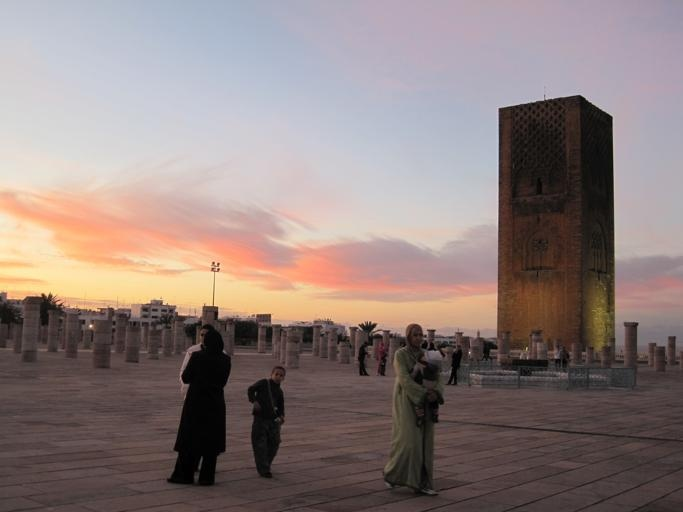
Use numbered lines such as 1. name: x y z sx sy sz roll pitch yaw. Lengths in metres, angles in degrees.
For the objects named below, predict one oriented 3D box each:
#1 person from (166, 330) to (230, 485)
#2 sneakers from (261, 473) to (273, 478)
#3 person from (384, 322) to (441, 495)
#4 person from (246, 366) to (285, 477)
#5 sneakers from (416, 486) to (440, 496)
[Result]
1. person: -1.614 1.689 6.600 0.598 1.741 0.490 1 -9 -5
2. sneakers: -0.866 2.568 6.731 0.050 0.051 0.133 6 -15 -28
3. person: 0.811 1.677 6.398 0.569 1.811 0.391 -6 -11 36
4. person: -0.954 2.034 7.257 0.437 1.250 0.968 2 -9 -6
5. sneakers: 0.921 2.517 6.157 0.218 0.073 0.081 -6 -6 19
